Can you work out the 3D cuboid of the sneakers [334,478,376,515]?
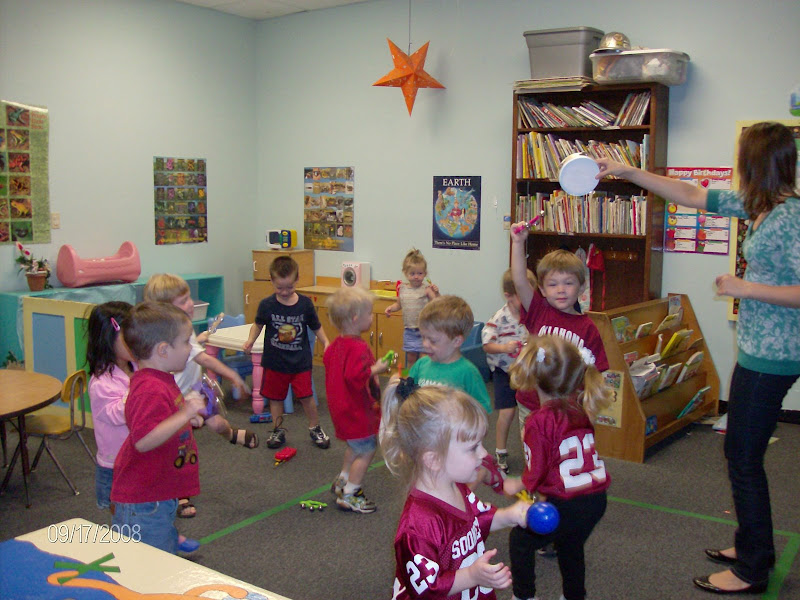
[{"bbox_3d":[-0.264,1.127,3.797,0.299,0.148,0.122,17,11,9],"label":"sneakers"}]

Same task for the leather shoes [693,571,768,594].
[{"bbox_3d":[1.512,1.322,3.008,0.301,0.100,0.129,2,4,15],"label":"leather shoes"}]

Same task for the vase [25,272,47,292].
[{"bbox_3d":[-3.098,-0.152,5.622,0.158,0.145,0.164,0,-2,0],"label":"vase"}]

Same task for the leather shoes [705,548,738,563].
[{"bbox_3d":[1.605,1.280,3.270,0.150,0.048,0.061,7,15,25],"label":"leather shoes"}]

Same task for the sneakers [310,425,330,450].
[{"bbox_3d":[-0.565,0.996,4.671,0.085,0.097,0.218,-5,5,-28],"label":"sneakers"}]

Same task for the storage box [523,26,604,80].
[{"bbox_3d":[1.406,-2.071,5.521,0.590,0.382,0.462,12,20,39],"label":"storage box"}]

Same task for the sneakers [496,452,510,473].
[{"bbox_3d":[0.693,1.078,4.333,0.050,0.072,0.156,1,34,-4],"label":"sneakers"}]

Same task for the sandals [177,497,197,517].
[{"bbox_3d":[-1.207,1.182,3.715,0.066,0.072,0.171,1,-3,-27],"label":"sandals"}]

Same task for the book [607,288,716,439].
[{"bbox_3d":[1.927,0.510,4.779,0.490,0.731,0.923,-6,7,37],"label":"book"}]

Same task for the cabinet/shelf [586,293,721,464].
[{"bbox_3d":[1.800,0.448,4.955,0.734,1.096,1.466,21,21,38],"label":"cabinet/shelf"}]

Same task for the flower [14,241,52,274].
[{"bbox_3d":[-3.165,-0.370,5.665,0.265,0.277,0.221,-6,9,-34],"label":"flower"}]
